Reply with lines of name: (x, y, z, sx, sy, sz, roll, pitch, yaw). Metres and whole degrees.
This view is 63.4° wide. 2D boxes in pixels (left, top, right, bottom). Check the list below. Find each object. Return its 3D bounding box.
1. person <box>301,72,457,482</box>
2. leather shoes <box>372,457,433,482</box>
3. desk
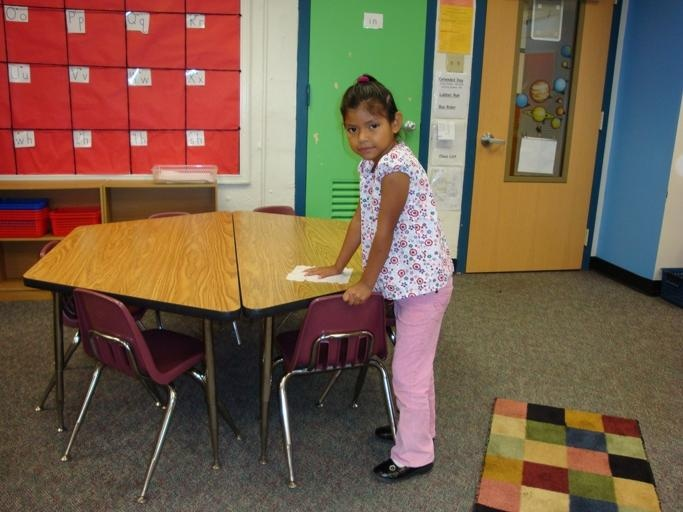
person: (0.223, 0.129, 2.505, 0.536, 1.803, 0.442, 2, 16, 12)
leather shoes: (0.286, 1.010, 2.636, 0.266, 0.130, 0.110, 2, 15, -9)
desk: (-0.688, -0.011, 2.912, 1.253, 0.828, 1.425, 8, 18, 22)
